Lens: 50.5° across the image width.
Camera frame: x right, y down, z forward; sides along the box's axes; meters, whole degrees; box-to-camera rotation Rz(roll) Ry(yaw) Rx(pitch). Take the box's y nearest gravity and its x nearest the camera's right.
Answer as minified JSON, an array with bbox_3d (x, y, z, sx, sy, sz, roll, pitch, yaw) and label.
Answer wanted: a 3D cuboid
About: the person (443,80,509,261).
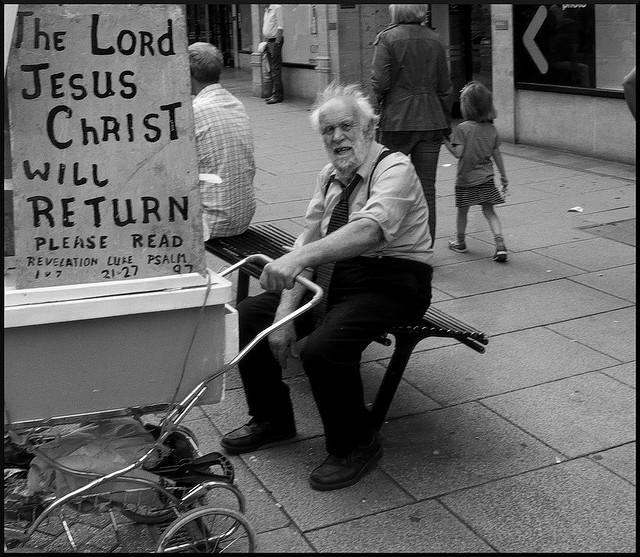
[{"bbox_3d":[1.439,-1.014,6.260,0.574,1.581,0.884,1,14,13],"label":"person"}]

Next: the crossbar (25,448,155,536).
[{"bbox_3d":[-0.774,0.726,2.321,0.456,0.197,0.079,-9,15,-27],"label":"crossbar"}]

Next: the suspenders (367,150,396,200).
[{"bbox_3d":[0.277,-0.531,3.452,0.236,0.198,0.056,-15,12,-21],"label":"suspenders"}]

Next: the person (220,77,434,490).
[{"bbox_3d":[-0.025,-0.035,3.369,0.845,1.833,1.074,8,18,36],"label":"person"}]
